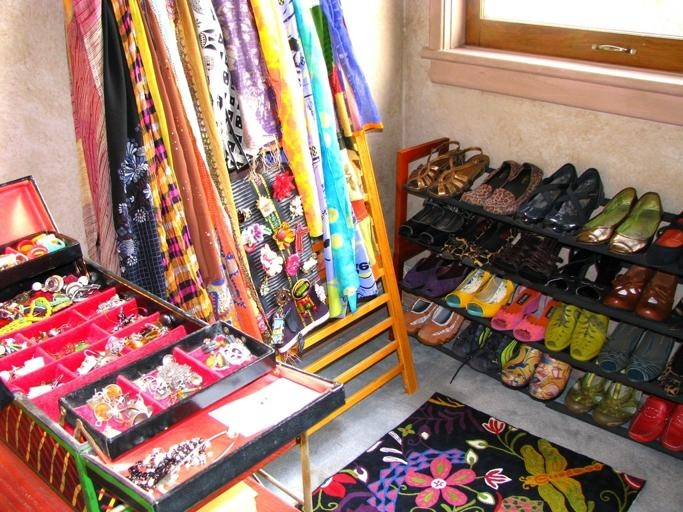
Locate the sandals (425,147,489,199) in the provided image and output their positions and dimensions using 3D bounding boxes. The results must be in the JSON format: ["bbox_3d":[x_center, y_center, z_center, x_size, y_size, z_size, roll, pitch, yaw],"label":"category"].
[{"bbox_3d":[0.691,-0.446,2.615,0.483,0.126,0.194,-42,49,-21],"label":"sandals"}]
